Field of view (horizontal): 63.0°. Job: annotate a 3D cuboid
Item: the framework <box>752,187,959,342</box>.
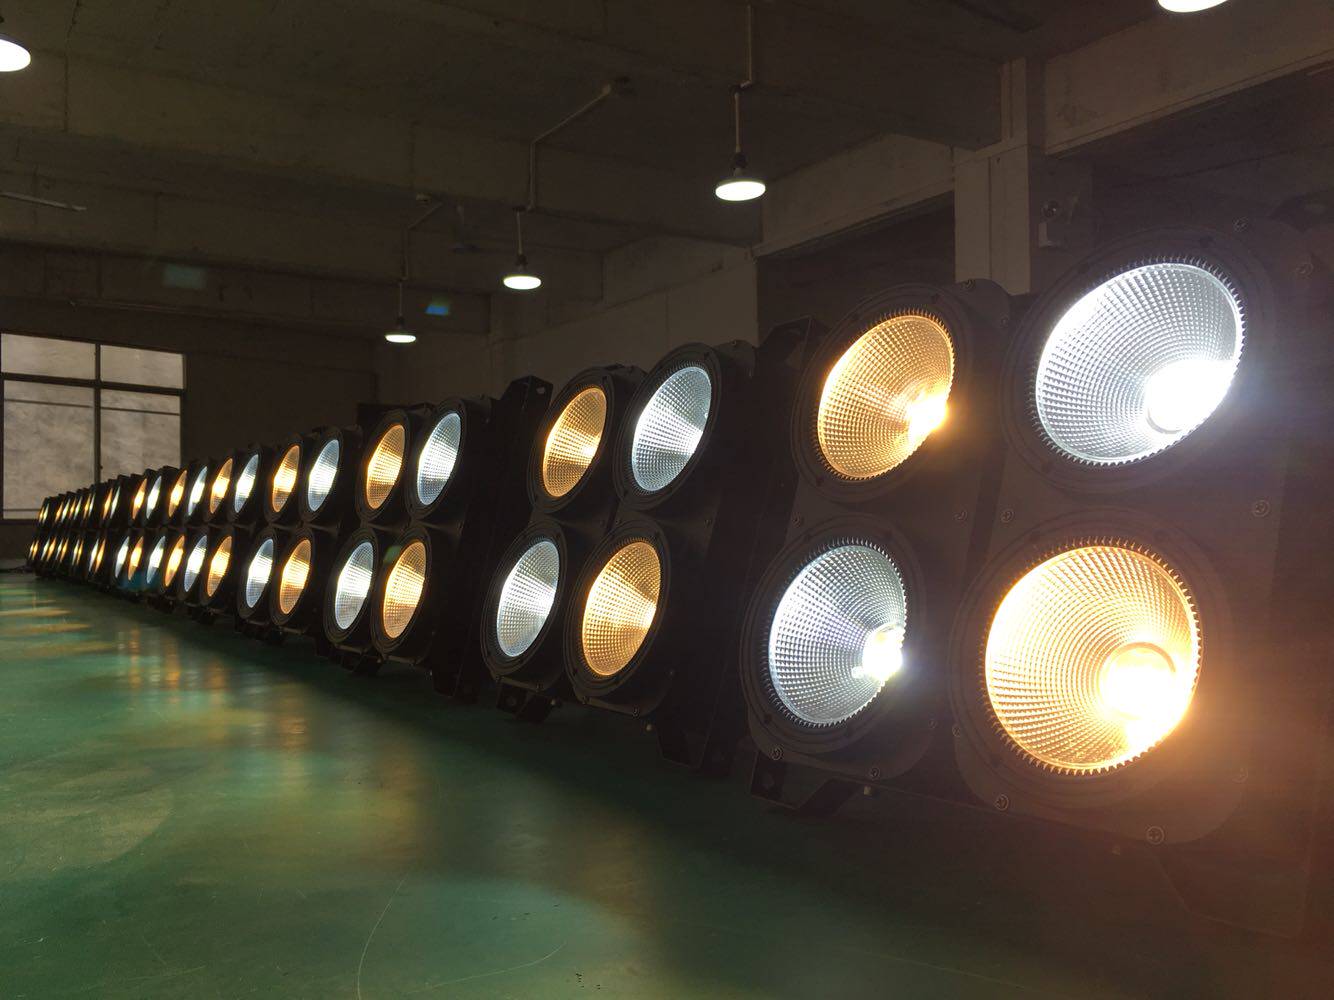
[{"bbox_3d":[1.109,-1.487,6.440,0.266,0.521,1.985,6,-10,-27],"label":"framework"}]
